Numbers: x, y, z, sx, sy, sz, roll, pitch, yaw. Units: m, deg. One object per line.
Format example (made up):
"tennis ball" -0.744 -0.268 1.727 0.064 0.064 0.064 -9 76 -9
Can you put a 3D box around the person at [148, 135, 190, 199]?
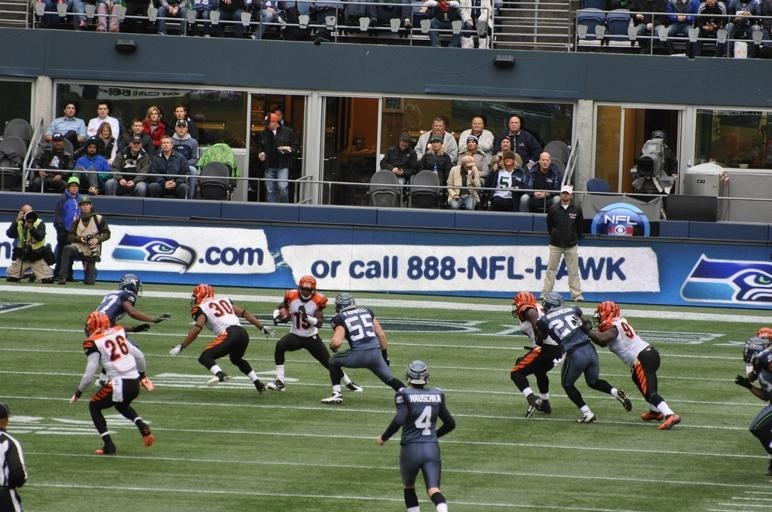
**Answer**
"person" -5.524 -2.130 45.368 1.163 1.753 1.120 -7 24 -16

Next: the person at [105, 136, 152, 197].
"person" -6.502 -2.087 45.348 1.237 1.854 1.214 1 18 -16

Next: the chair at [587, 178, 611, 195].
"chair" 5.366 -1.810 45.486 0.561 0.329 0.582 0 5 1

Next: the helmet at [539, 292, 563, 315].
"helmet" 3.332 0.907 36.029 0.377 0.372 0.423 -9 20 -42

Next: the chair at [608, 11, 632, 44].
"chair" 6.062 -6.034 47.049 0.650 0.799 0.836 2 17 11

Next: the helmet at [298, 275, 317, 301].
"helmet" -1.581 0.628 36.666 0.373 0.418 0.468 5 1 -1

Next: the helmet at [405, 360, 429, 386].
"helmet" 0.563 2.073 32.451 0.372 0.384 0.445 2 10 -3

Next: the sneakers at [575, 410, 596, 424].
"sneakers" 4.007 3.225 36.169 0.183 0.227 0.489 -16 8 -31

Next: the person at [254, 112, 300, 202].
"person" -2.753 -2.540 45.814 0.945 2.295 0.792 -1 5 -4

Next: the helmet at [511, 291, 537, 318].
"helmet" 2.761 0.960 36.477 0.582 0.506 0.447 2 5 31

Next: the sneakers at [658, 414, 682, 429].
"sneakers" 5.632 3.288 35.716 0.221 0.271 0.575 16 -38 -22

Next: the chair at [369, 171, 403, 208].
"chair" -0.036 -1.727 45.368 0.769 0.887 0.959 1 6 6

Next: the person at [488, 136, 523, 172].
"person" 2.976 -2.615 45.141 0.926 0.822 0.919 2 5 24

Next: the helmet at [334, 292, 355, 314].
"helmet" -0.790 0.912 36.024 0.376 0.417 0.452 -2 12 -11

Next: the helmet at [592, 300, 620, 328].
"helmet" 4.393 1.143 35.797 0.551 0.494 0.429 1 -1 9

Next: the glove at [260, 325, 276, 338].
"glove" -2.485 1.545 37.207 0.351 0.144 0.345 27 -7 -29

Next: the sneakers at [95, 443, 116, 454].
"sneakers" -5.351 3.683 34.435 0.318 0.124 0.168 4 -1 14

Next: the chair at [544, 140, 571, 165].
"chair" 4.482 -2.712 46.565 0.615 0.722 0.633 -2 5 3

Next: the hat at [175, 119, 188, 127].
"hat" -5.166 -3.395 45.429 0.259 0.191 0.363 -1 5 -9

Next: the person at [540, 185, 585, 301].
"person" 4.346 -0.322 43.641 0.890 2.836 1.031 3 6 35

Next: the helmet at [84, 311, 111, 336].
"helmet" -5.508 1.283 34.652 0.419 0.473 0.538 1 -2 -41

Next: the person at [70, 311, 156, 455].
"person" -5.223 2.439 34.451 1.361 2.696 1.095 -2 5 -11

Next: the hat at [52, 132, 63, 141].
"hat" -8.286 -3.035 45.335 0.264 0.171 0.274 -1 5 -9

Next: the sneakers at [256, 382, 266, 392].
"sneakers" -2.556 2.654 36.678 0.159 0.177 0.186 -42 2 -31

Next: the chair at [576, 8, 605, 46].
"chair" 5.330 -6.010 46.858 0.728 0.989 0.869 0 5 5

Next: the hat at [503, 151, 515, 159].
"hat" 3.065 -2.521 44.692 0.281 0.208 0.164 -1 5 -6

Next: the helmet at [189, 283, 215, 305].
"helmet" -3.764 0.738 36.520 0.495 0.441 0.376 10 10 17

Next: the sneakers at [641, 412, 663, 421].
"sneakers" 5.387 3.228 36.403 0.501 0.165 0.228 0 -16 15

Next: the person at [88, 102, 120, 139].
"person" -7.235 -3.431 45.967 0.872 1.029 0.655 -2 1 -6

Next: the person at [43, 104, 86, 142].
"person" -8.184 -3.206 45.909 1.017 1.536 0.936 3 4 -13

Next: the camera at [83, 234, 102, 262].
"camera" -7.173 -0.251 43.830 0.589 0.830 0.473 1 17 -4

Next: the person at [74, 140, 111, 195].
"person" -7.385 -2.231 45.393 0.914 1.384 1.437 0 19 -28

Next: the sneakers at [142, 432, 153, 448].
"sneakers" -4.534 3.498 34.273 0.183 0.280 0.280 5 43 -14

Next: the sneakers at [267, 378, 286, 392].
"sneakers" -2.307 2.626 36.728 0.472 0.221 0.163 12 15 6

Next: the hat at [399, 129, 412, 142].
"hat" 0.485 -3.040 45.275 0.259 0.211 0.345 3 7 -5

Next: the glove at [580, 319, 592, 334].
"glove" 3.938 1.371 35.593 0.206 0.141 0.269 19 9 -24

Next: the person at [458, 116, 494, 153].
"person" 2.300 -3.000 45.761 0.910 1.126 0.661 4 9 14

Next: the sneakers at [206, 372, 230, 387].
"sneakers" -3.447 2.489 36.525 0.539 0.226 0.284 -22 -42 22

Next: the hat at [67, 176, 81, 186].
"hat" -7.700 -1.899 44.437 0.241 0.234 0.312 3 -19 -20

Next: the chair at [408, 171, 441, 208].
"chair" 0.957 -1.729 45.328 0.863 0.894 0.926 0 10 0

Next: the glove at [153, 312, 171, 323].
"glove" -4.435 1.220 35.895 0.166 0.233 0.444 10 -6 -39

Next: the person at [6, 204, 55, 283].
"person" -8.912 -0.298 44.238 1.160 1.950 1.039 0 5 12

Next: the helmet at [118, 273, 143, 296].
"helmet" -5.178 0.542 36.344 0.368 0.403 0.463 9 6 33

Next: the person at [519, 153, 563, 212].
"person" 3.905 -1.719 44.753 1.057 1.668 1.174 6 8 24

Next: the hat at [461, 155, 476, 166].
"hat" 2.070 -2.410 44.849 0.229 0.142 0.288 -9 2 -33

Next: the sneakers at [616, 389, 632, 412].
"sneakers" 4.807 2.921 36.414 0.239 0.507 0.189 -14 27 49

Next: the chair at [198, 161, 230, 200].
"chair" -4.327 -1.945 45.518 0.897 1.073 0.972 1 1 -2

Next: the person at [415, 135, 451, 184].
"person" 1.238 -2.409 45.352 1.074 1.194 0.751 2 3 3

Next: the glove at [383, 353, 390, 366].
"glove" 0.020 2.051 36.279 0.086 0.315 0.100 -17 -10 -5

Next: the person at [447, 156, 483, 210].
"person" 1.952 -1.864 44.981 0.850 1.363 0.504 -1 5 0
